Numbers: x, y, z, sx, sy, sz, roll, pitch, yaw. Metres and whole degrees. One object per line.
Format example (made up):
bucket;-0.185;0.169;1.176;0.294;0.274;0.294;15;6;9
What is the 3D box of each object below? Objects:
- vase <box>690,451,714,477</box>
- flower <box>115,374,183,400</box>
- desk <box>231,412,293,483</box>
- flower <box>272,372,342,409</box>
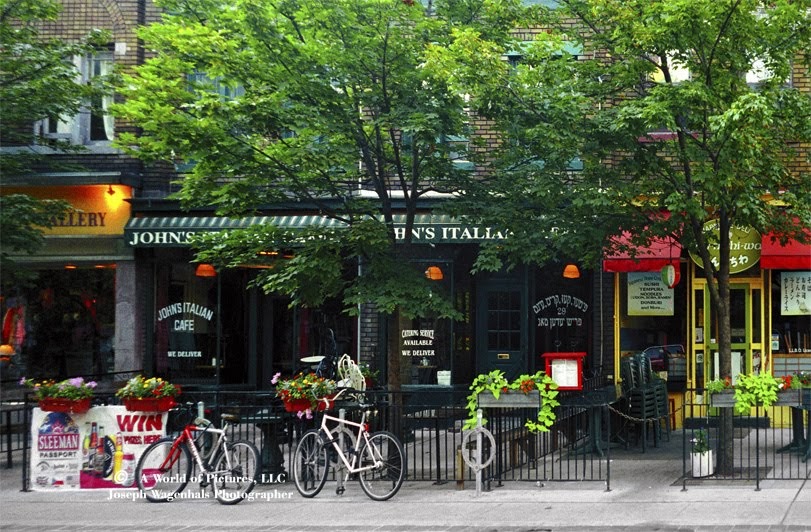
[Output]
vase;5.674;3.832;25.700;0.467;0.476;0.520;1;-9;1
flower;-4.996;2.323;25.358;1.195;0.448;0.461;1;-8;-12
desk;-2.854;3.557;26.134;1.438;1.272;1.201;1;-7;-4
flower;-2.070;2.383;25.279;0.974;0.445;0.829;3;-6;-31
